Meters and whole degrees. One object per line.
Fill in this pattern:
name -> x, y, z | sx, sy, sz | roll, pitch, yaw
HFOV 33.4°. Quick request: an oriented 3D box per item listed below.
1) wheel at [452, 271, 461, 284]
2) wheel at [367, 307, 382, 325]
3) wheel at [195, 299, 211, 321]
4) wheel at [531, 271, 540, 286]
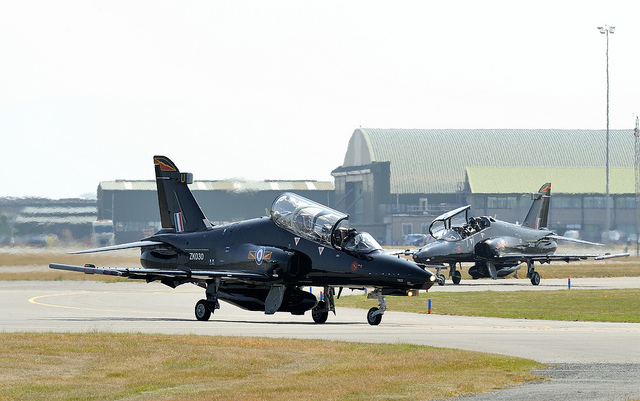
wheel -> 10.298, 5.778, 80.858 | 0.601, 0.837, 1.190 | -1, -1, 4
wheel -> 2.779, 5.905, 54.909 | 0.638, 0.827, 0.873 | -1, -1, 0
wheel -> -6.148, 5.791, 56.320 | 0.443, 1.016, 1.163 | -4, 8, -38
wheel -> 16.138, 5.869, 80.412 | 0.470, 0.888, 1.038 | -13, -1, 44
